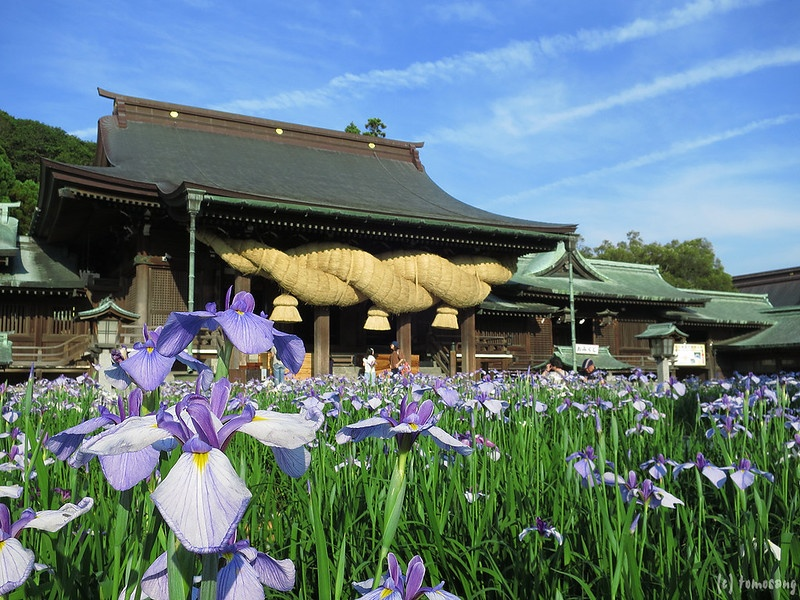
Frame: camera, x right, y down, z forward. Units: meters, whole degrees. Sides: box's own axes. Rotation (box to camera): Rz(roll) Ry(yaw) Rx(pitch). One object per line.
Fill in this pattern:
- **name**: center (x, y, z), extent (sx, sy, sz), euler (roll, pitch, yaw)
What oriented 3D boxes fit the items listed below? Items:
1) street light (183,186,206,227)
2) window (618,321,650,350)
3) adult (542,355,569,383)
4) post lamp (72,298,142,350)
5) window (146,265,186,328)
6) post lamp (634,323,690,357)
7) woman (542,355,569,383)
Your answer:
- **street light**: center (-3.351, -1.463, 11.809), extent (0.288, 0.646, 0.386), euler (3, -6, -18)
- **window**: center (6.658, 0.999, 20.708), extent (0.768, 0.924, 0.063), euler (-1, 2, -9)
- **adult**: center (2.414, 1.034, 11.140), extent (0.262, 0.664, 0.608), euler (9, 2, 8)
- **post lamp**: center (-4.799, 0.387, 11.836), extent (0.901, 0.868, 0.835), euler (0, -10, -25)
- **window**: center (-4.495, -0.170, 13.812), extent (0.472, 0.049, 0.999), euler (4, -51, -3)
- **post lamp**: center (5.545, 0.824, 14.912), extent (0.865, 0.881, 0.717), euler (2, -7, -17)
- **woman**: center (2.414, 1.034, 11.140), extent (0.262, 0.664, 0.608), euler (9, 2, 8)
